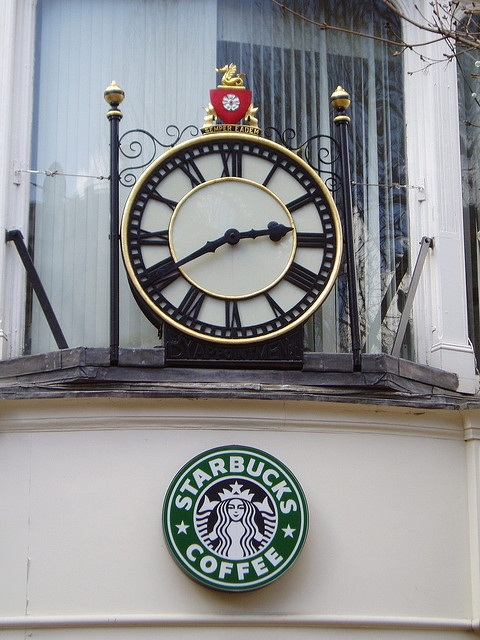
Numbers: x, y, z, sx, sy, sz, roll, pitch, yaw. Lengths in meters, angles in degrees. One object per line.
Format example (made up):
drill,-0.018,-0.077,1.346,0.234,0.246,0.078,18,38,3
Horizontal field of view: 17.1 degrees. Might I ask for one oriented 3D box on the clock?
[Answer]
clock,-0.089,-0.645,13.783,1.433,2.022,0.155,1,-17,-7
